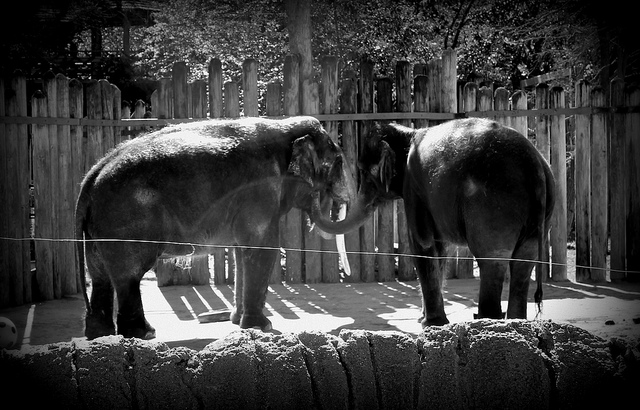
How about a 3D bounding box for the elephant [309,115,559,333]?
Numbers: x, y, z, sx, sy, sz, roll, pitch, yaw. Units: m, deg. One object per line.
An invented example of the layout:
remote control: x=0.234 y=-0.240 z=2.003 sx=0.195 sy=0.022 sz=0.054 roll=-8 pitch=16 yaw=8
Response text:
elephant: x=0.922 y=0.153 z=6.075 sx=0.891 sy=1.795 sz=2.356 roll=-12 pitch=11 yaw=-43
